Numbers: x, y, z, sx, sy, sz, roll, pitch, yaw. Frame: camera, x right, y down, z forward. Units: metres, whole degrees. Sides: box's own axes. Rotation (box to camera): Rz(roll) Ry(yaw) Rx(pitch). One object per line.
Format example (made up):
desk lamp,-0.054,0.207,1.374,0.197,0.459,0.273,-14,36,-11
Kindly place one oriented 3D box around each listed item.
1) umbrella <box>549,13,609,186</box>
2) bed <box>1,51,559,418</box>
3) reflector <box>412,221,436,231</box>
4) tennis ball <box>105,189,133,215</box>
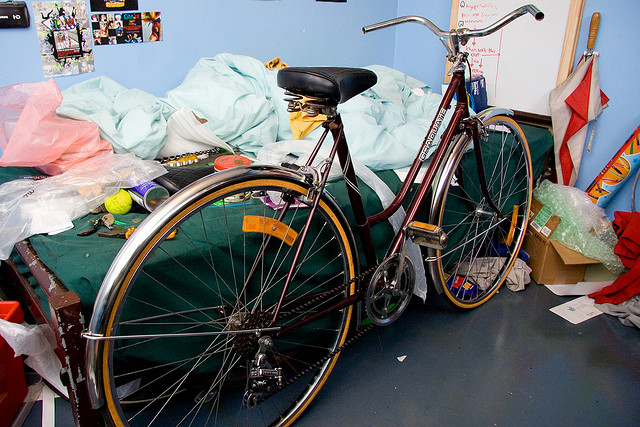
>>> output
umbrella,1.622,-0.697,2.755,0.266,1.029,0.228,-1,25,-3
bed,-0.439,-0.320,2.396,2.215,0.553,2.094,-12,35,-28
reflector,0.479,0.056,1.997,0.068,0.015,0.039,14,14,30
tennis ball,-0.946,-0.051,2.060,0.113,0.135,0.110,14,26,-7
